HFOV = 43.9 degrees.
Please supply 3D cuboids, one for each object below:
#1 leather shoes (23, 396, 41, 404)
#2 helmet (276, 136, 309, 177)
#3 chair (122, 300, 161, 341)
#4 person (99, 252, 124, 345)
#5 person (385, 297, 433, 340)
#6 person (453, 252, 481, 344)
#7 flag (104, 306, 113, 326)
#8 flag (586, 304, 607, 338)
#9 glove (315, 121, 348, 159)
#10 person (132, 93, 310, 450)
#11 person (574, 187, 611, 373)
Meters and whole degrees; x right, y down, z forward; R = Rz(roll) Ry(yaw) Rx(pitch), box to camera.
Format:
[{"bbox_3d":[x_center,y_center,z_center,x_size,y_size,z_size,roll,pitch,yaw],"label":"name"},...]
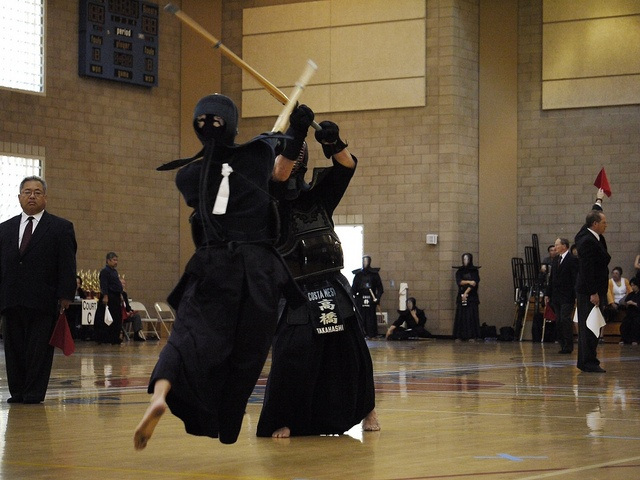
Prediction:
[{"bbox_3d":[-2.429,1.358,6.724,0.157,0.063,0.100,2,-3,-20],"label":"leather shoes"},{"bbox_3d":[-0.194,-0.572,5.446,0.178,0.237,0.227,4,17,8],"label":"helmet"},{"bbox_3d":[-4.077,1.787,18.399,0.699,1.237,0.933,2,-4,-41],"label":"chair"},{"bbox_3d":[-4.326,1.208,16.442,0.569,1.868,0.543,3,-3,-34],"label":"person"},{"bbox_3d":[1.953,1.767,17.511,0.962,0.946,0.736,-1,-5,9],"label":"person"},{"bbox_3d":[3.205,1.250,17.279,0.567,1.893,0.426,0,-3,9],"label":"person"},{"bbox_3d":[-4.321,1.566,16.249,0.163,0.397,0.111,1,-3,-11],"label":"flag"},{"bbox_3d":[3.240,0.960,9.248,0.173,0.370,0.371,-1,-4,35],"label":"flag"},{"bbox_3d":[0.078,-0.694,5.350,0.184,0.273,0.325,0,-3,11],"label":"glove"},{"bbox_3d":[-0.601,0.144,4.610,0.920,2.048,0.472,3,-4,-40],"label":"person"},{"bbox_3d":[3.201,0.601,9.301,0.363,1.924,0.524,0,-3,18],"label":"person"}]
